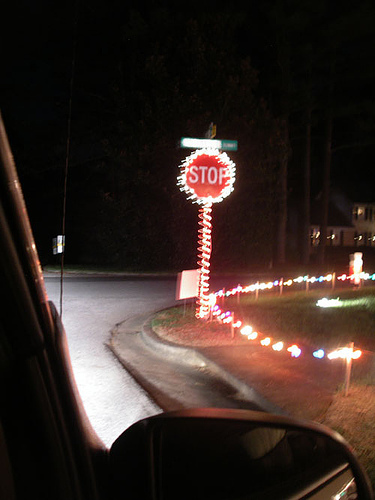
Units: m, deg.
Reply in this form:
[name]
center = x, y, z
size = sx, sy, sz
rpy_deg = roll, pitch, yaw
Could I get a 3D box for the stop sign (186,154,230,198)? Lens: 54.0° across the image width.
[stop sign]
center = 0.491, -1.819, 8.805
size = 0.788, 0.963, 0.122
rpy_deg = -2, 11, 1
